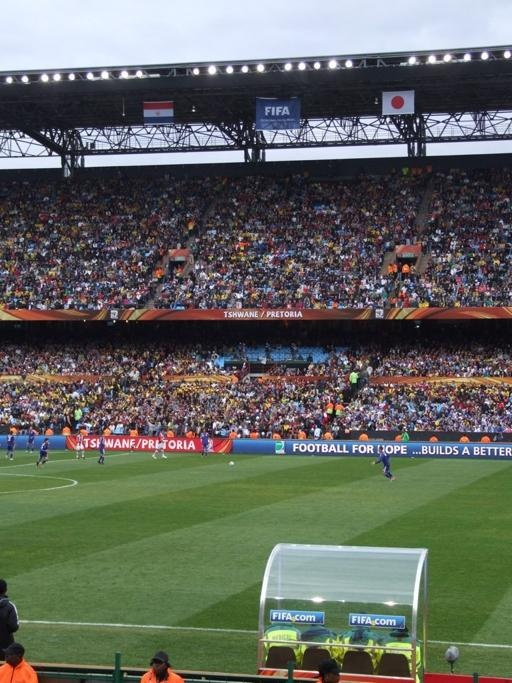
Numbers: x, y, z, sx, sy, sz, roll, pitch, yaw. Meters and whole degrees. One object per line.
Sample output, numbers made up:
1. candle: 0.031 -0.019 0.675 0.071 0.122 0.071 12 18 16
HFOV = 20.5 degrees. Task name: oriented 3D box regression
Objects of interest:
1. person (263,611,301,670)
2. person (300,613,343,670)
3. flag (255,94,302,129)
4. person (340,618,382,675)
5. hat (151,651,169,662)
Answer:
1. person: 0.402 4.770 22.584 0.620 0.851 0.807 3 24 4
2. person: 1.089 4.602 22.513 0.357 0.640 1.182 13 -35 -25
3. flag: 0.929 -9.874 60.735 2.250 1.676 0.122 0 2 11
4. person: 1.628 4.867 22.326 0.566 0.964 0.690 2 -9 8
5. hat: -1.433 4.721 21.109 0.229 0.188 0.268 -4 8 -10
